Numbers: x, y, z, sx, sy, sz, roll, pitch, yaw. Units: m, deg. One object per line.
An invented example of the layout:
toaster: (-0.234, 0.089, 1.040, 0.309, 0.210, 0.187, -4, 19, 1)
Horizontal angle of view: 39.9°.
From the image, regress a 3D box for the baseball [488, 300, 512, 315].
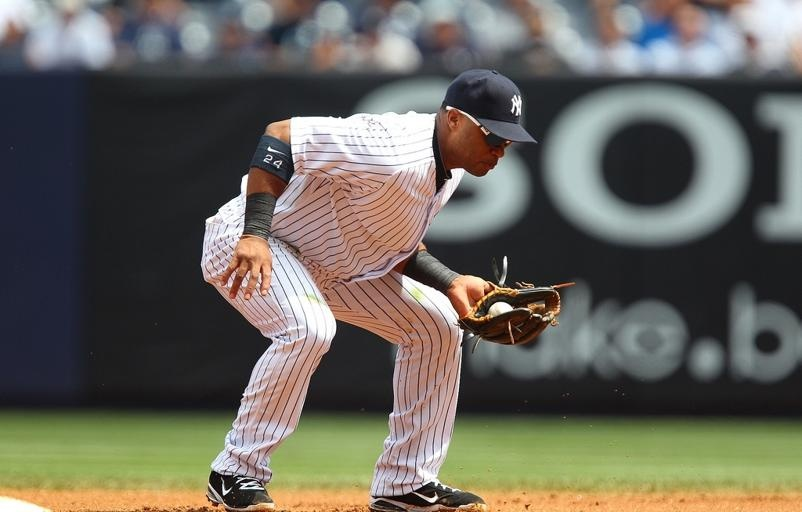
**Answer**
baseball: (0.611, 0.333, 6.853, 0.110, 0.094, 0.095, 41, 22, -54)

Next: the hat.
hat: (0.532, -0.906, 6.762, 0.513, 0.273, 0.380, 26, 12, 16)

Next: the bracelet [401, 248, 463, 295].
bracelet: (0.199, 0.068, 7.099, 0.307, 0.253, 0.132, 33, 37, 5)

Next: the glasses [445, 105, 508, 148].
glasses: (0.449, -0.720, 6.686, 0.292, 0.080, 0.228, 40, 11, 8)
